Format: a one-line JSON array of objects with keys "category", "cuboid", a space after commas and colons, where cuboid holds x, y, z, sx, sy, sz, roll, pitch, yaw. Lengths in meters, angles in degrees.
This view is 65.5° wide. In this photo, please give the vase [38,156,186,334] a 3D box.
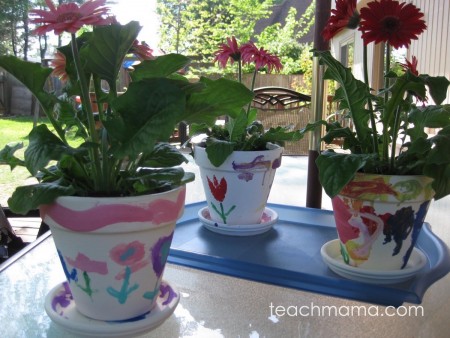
[{"category": "vase", "cuboid": [-0.202, 0.094, 0.661, 0.235, 0.251, 0.245, 5, 9, 21]}]

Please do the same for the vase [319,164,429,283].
[{"category": "vase", "cuboid": [0.301, 0.077, 0.755, 0.204, 0.196, 0.204, 6, 10, 39]}]

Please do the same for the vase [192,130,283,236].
[{"category": "vase", "cuboid": [0.037, 0.024, 1.022, 0.228, 0.224, 0.229, 5, 13, 17]}]

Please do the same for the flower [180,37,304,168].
[{"category": "flower", "cuboid": [0.075, -0.176, 1.020, 0.351, 0.386, 0.351, 4, 14, 22]}]
